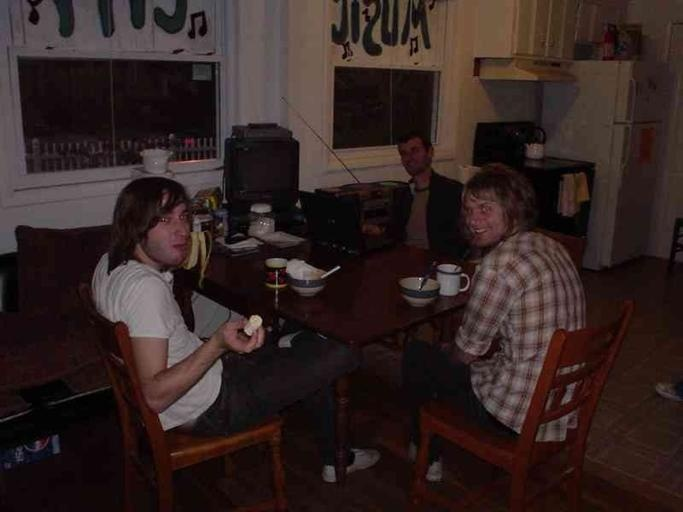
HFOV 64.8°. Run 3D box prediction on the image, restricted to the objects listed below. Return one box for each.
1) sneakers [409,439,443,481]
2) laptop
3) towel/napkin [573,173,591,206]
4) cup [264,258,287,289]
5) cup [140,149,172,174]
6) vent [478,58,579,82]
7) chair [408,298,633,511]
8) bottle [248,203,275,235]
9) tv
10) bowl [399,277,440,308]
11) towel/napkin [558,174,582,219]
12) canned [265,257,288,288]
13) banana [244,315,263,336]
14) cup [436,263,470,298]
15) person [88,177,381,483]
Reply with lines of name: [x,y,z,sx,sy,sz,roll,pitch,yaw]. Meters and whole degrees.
sneakers: [0.417,0.956,2.595,0.126,0.231,0.060,0,7,22]
laptop: [0.095,-0.243,3.136,0.318,0.341,0.530,13,22,37]
towel/napkin: [2.255,-0.639,5.086,0.244,0.354,0.038,-14,15,-35]
cup: [-0.302,0.079,2.534,0.113,0.119,0.119,0,0,0]
cup: [-1.041,-0.542,3.022,0.142,0.103,0.136,1,13,0]
vent: [1.636,-1.683,4.849,0.577,0.247,0.790,14,26,43]
chair: [0.684,0.671,2.197,0.831,1.114,0.662,-2,18,5]
bottle: [-0.473,-0.226,3.252,0.163,0.208,0.175,1,8,0]
tv: [-0.522,-0.547,3.372,0.330,0.315,0.179,-6,17,-35]
bowl: [0.336,0.152,2.378,0.129,0.077,0.132,-1,6,0]
towel/napkin: [2.090,-0.555,4.963,0.208,0.372,0.096,-2,5,-17]
canned: [-0.299,0.081,2.476,0.111,0.122,0.116,1,1,32]
banana: [-0.282,0.212,1.728,0.046,0.076,0.037,14,8,-1]
cup: [0.504,0.120,2.522,0.174,0.135,0.114,-1,9,-9]
person: [-0.606,0.093,2.279,1.067,1.385,0.850,-14,30,-29]
